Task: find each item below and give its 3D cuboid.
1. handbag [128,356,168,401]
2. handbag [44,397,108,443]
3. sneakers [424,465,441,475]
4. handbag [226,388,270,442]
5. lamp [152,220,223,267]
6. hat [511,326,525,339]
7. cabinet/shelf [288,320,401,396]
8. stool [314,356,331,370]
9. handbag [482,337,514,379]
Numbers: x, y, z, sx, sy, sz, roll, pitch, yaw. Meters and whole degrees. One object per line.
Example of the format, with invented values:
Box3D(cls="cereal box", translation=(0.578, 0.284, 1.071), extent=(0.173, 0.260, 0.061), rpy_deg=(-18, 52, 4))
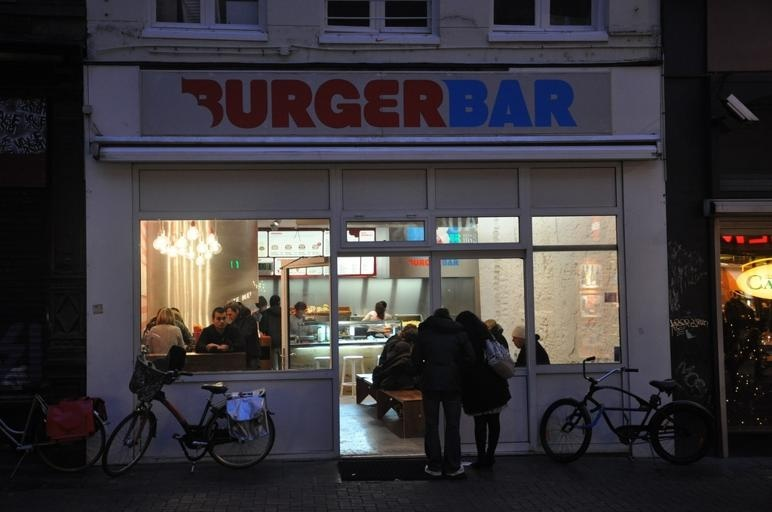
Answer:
Box3D(cls="handbag", translation=(-3.468, 1.798, 13.502), extent=(0.552, 0.607, 0.263), rpy_deg=(0, -1, -16))
Box3D(cls="handbag", translation=(-4.480, 2.497, 13.318), extent=(0.837, 0.621, 0.586), rpy_deg=(-3, -18, -8))
Box3D(cls="sneakers", translation=(0.667, 3.080, 13.236), extent=(0.276, 0.143, 0.117), rpy_deg=(0, 0, 43))
Box3D(cls="handbag", translation=(-2.008, 2.334, 13.335), extent=(0.799, 0.856, 0.454), rpy_deg=(-2, -10, -19))
Box3D(cls="lamp", translation=(-3.072, -0.187, 14.431), extent=(0.789, 1.129, 0.778), rpy_deg=(4, -10, -16))
Box3D(cls="hat", translation=(2.067, 1.190, 14.321), extent=(0.143, 0.144, 0.194), rpy_deg=(12, 0, -43))
Box3D(cls="cabinet/shelf", translation=(-0.713, 1.590, 14.342), extent=(1.315, 1.043, 0.451), rpy_deg=(1, -4, -18))
Box3D(cls="stool", translation=(-0.958, 1.611, 14.078), extent=(0.170, 0.190, 0.299), rpy_deg=(-1, -3, 35))
Box3D(cls="handbag", translation=(1.609, 1.499, 13.410), extent=(0.294, 0.543, 0.566), rpy_deg=(-33, -22, 15))
